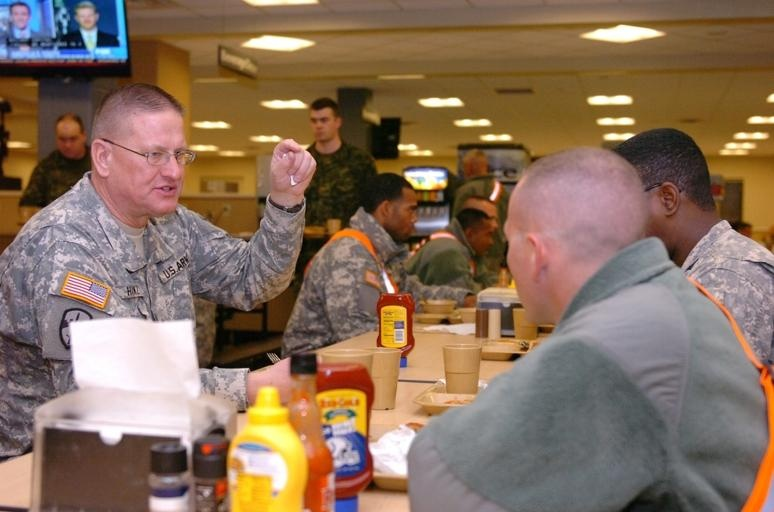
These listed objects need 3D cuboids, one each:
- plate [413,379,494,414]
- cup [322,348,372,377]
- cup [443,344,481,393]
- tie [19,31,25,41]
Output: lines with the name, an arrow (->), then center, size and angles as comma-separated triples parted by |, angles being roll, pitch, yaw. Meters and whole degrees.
plate -> 0.254, 0.458, 2.445 | 0.263, 0.052, 0.343 | -15, -19, 16
cup -> -0.118, 0.268, 1.970 | 0.118, 0.072, 0.111 | 0, -3, 0
cup -> 0.266, 0.390, 2.475 | 0.160, 0.149, 0.145 | 2, -6, 0
tie -> -2.514, -1.518, 5.059 | 0.047, 0.041, 0.011 | -13, 6, -16
